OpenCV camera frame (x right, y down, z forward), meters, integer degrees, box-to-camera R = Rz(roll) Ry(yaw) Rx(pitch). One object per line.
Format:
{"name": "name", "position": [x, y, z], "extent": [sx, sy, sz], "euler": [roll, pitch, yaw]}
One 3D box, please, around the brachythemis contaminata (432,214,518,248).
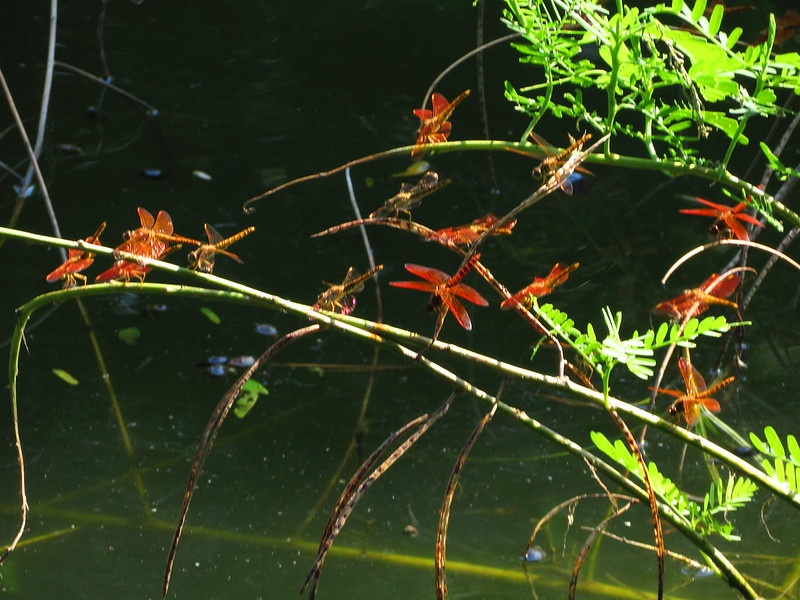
{"name": "brachythemis contaminata", "position": [0.105, -0.106, 1.382], "extent": [0.100, 0.059, 0.026], "euler": [-18, -40, -40]}

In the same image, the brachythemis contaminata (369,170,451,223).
{"name": "brachythemis contaminata", "position": [0.010, -0.164, 1.534], "extent": [0.092, 0.038, 0.049], "euler": [-38, -50, 17]}

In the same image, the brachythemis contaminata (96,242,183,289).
{"name": "brachythemis contaminata", "position": [-0.373, -0.047, 1.369], "extent": [0.075, 0.072, 0.021], "euler": [-39, -65, -7]}

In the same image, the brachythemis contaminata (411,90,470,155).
{"name": "brachythemis contaminata", "position": [0.066, -0.263, 1.469], "extent": [0.110, 0.050, 0.091], "euler": [10, -11, -35]}

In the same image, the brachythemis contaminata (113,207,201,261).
{"name": "brachythemis contaminata", "position": [-0.345, -0.085, 1.378], "extent": [0.082, 0.082, 0.047], "euler": [-2, -57, 15]}

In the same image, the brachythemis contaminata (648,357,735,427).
{"name": "brachythemis contaminata", "position": [0.420, 0.133, 1.387], "extent": [0.081, 0.101, 0.117], "euler": [-6, -42, 13]}

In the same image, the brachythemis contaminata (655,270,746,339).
{"name": "brachythemis contaminata", "position": [0.467, -0.011, 1.505], "extent": [0.092, 0.052, 0.096], "euler": [-27, -11, -17]}

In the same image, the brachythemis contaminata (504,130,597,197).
{"name": "brachythemis contaminata", "position": [0.222, -0.200, 1.369], "extent": [0.083, 0.062, 0.117], "euler": [-22, -8, 12]}

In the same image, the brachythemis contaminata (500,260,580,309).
{"name": "brachythemis contaminata", "position": [0.221, -0.022, 1.498], "extent": [0.076, 0.021, 0.031], "euler": [-39, -24, -10]}
